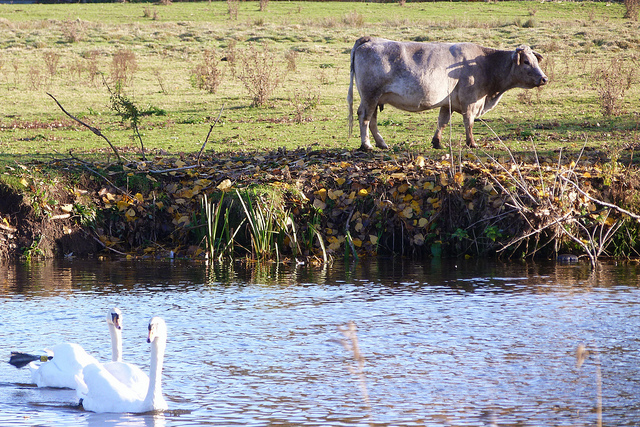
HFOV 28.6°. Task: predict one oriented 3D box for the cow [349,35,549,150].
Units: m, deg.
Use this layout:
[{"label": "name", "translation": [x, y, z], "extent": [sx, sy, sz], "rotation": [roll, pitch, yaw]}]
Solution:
[{"label": "cow", "translation": [3.142, -2.779, 30.625], "extent": [4.869, 2.871, 1.546], "rotation": [1, 3, -2]}]
